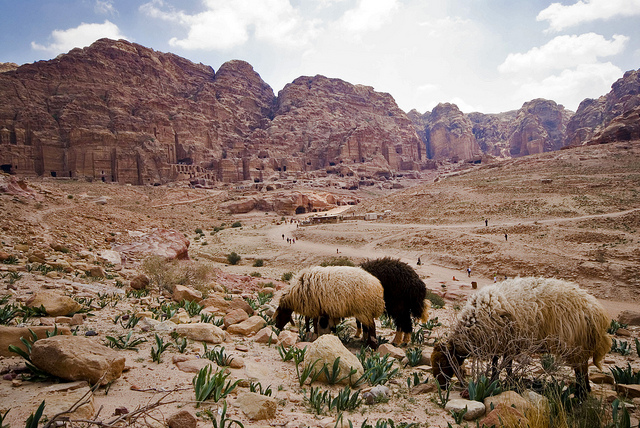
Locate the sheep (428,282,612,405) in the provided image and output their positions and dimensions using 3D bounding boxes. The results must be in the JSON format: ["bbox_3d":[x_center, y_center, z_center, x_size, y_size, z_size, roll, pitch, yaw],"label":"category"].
[{"bbox_3d":[4.864,3.168,10.726,4.515,2.812,1.937,-1,0,-2],"label":"sheep"}]

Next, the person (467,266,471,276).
[{"bbox_3d":[9.163,3.567,26.281,0.198,0.436,0.942,-3,-5,18],"label":"person"}]
